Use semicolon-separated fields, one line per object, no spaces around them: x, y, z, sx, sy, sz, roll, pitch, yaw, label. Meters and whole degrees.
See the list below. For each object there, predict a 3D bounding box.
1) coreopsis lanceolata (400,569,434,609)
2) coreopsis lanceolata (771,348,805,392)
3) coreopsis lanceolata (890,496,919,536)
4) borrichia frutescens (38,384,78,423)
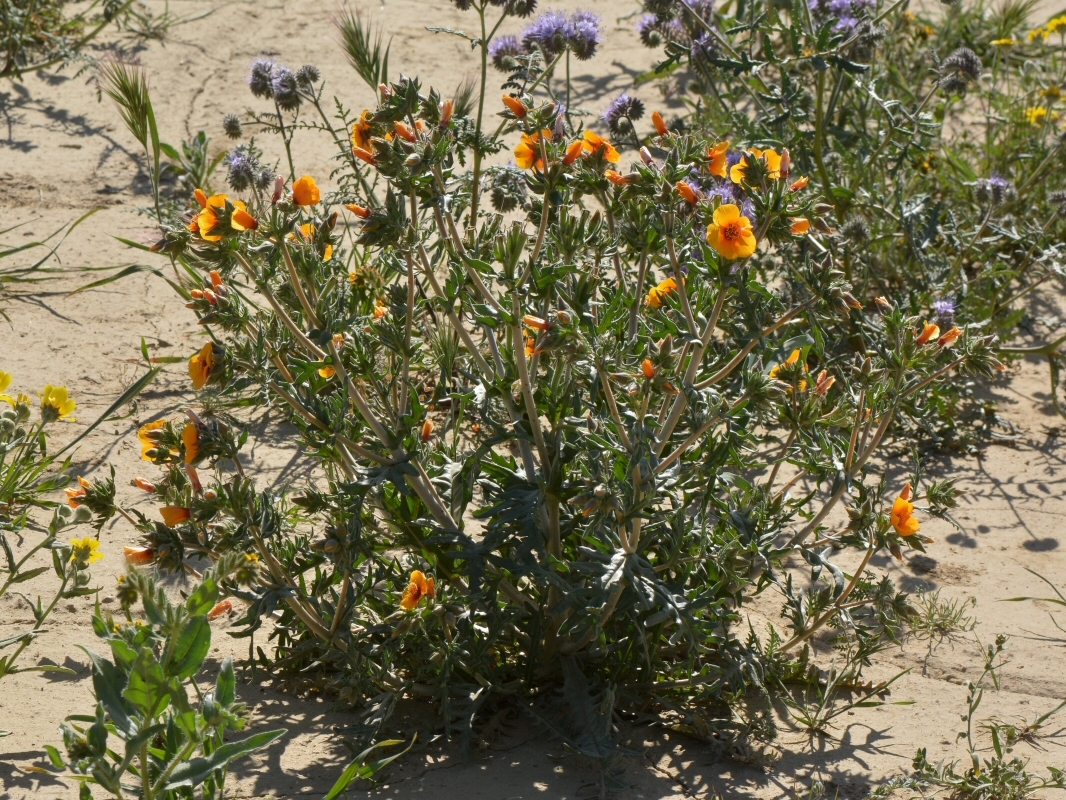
-0.409;0.681;6.327;0.069;0.133;0.130;29;-66;-26;coreopsis lanceolata
0.946;-0.106;6.617;0.088;0.144;0.158;8;-55;47;coreopsis lanceolata
1.409;0.448;6.613;0.072;0.140;0.118;-11;-9;28;coreopsis lanceolata
-1.933;0.012;7.054;0.177;0.181;0.153;-6;4;-35;borrichia frutescens
